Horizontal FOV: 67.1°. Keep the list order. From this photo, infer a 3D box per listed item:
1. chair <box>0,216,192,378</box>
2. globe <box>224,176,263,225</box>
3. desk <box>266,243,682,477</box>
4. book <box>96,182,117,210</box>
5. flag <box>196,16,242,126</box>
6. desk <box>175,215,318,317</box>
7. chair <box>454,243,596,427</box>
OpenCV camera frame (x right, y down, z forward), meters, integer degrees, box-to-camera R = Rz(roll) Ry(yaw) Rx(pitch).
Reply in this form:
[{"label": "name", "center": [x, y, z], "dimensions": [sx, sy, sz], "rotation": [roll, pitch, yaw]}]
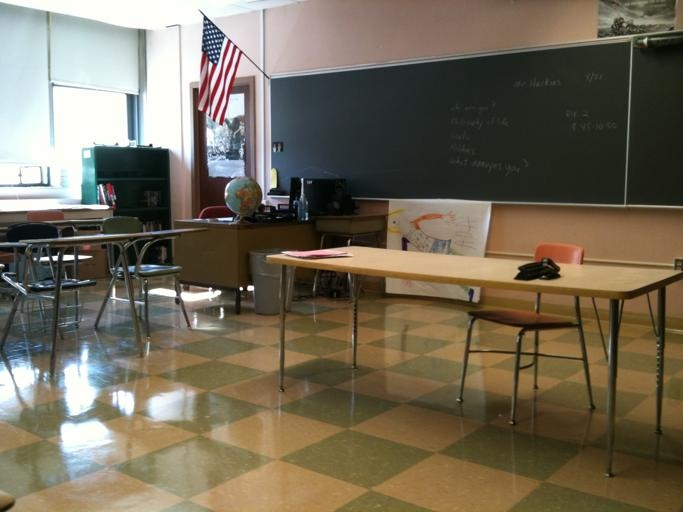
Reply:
[{"label": "chair", "center": [-2.448, 0.228, 5.024], "dimensions": [1.566, 1.028, 2.205], "rotation": [-4, 9, -31]}, {"label": "globe", "center": [-1.100, -0.657, 5.958], "dimensions": [0.487, 0.559, 0.473], "rotation": [0, 10, -12]}, {"label": "desk", "center": [0.837, 0.523, 3.268], "dimensions": [2.162, 0.971, 0.876], "rotation": [5, 9, 32]}, {"label": "book", "center": [-3.558, -0.910, 7.774], "dimensions": [0.242, 0.404, 0.281], "rotation": [-4, 9, -26]}, {"label": "flag", "center": [-1.532, -2.298, 6.405], "dimensions": [0.290, 1.280, 0.610], "rotation": [5, 9, 33]}, {"label": "desk", "center": [-1.050, 0.036, 6.680], "dimensions": [1.121, 0.758, 1.962], "rotation": [2, -1, 30]}, {"label": "chair", "center": [1.246, 0.475, 3.438], "dimensions": [0.757, 1.076, 0.705], "rotation": [2, 1, -8]}]
